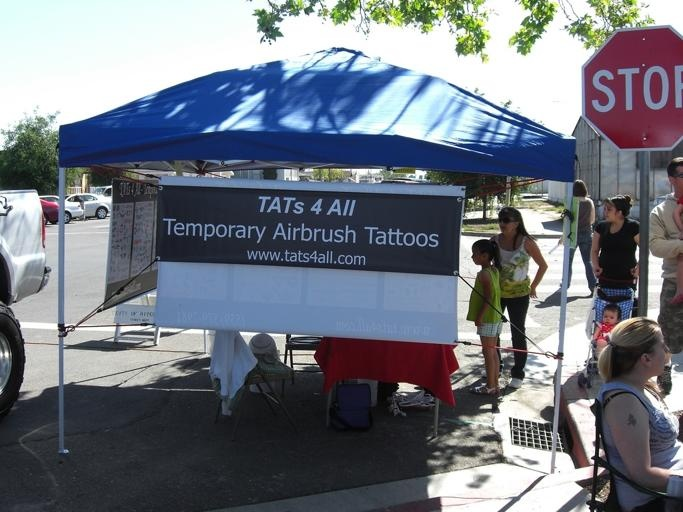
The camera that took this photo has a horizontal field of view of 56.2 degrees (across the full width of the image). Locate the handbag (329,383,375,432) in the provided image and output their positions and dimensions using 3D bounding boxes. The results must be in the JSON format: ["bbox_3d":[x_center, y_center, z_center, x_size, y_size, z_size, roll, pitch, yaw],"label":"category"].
[{"bbox_3d":[0.108,1.558,6.617,0.432,0.474,0.166,2,-10,-2],"label":"handbag"}]

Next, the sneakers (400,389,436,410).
[{"bbox_3d":[0.842,1.633,7.235,0.292,0.112,0.233,-1,-1,-4],"label":"sneakers"}]

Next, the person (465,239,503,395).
[{"bbox_3d":[1.651,0.748,7.359,0.401,1.857,1.000,3,9,14],"label":"person"}]

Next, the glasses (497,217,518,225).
[{"bbox_3d":[1.922,-0.434,7.535,0.244,0.093,0.151,10,13,44],"label":"glasses"}]

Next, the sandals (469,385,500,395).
[{"bbox_3d":[1.717,1.604,7.648,0.258,0.099,0.147,4,-1,7],"label":"sandals"}]

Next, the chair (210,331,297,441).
[{"bbox_3d":[-0.974,1.204,6.888,0.870,1.137,1.012,-1,9,-12],"label":"chair"}]
